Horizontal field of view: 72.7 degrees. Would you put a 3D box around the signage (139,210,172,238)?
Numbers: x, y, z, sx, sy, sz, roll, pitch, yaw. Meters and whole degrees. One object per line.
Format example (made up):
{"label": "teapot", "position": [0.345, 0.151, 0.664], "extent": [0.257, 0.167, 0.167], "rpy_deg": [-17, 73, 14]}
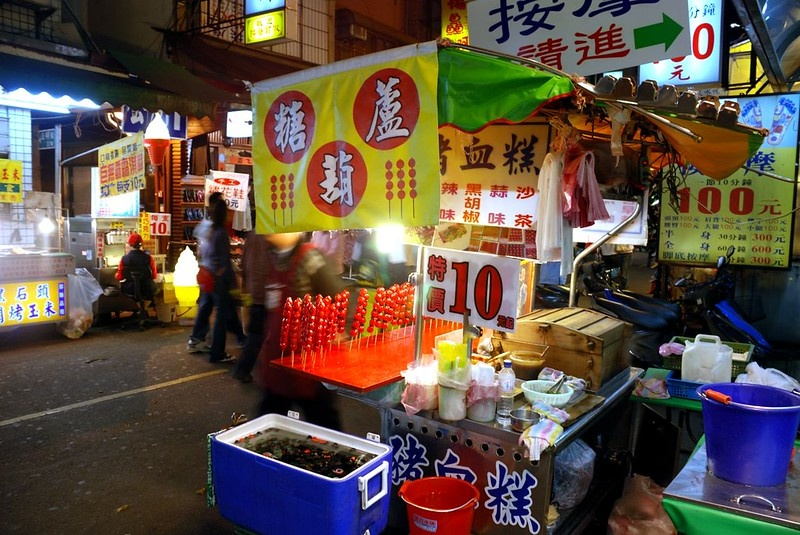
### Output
{"label": "signage", "position": [-6.236, -1.080, 13.860], "extent": [0.962, 0.722, 0.049], "rpy_deg": [-1, -2, -38]}

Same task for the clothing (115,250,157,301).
{"label": "clothing", "position": [-5.777, 0.174, 11.993], "extent": [0.845, 1.090, 1.023], "rpy_deg": [-1, 25, -15]}

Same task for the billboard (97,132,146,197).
{"label": "billboard", "position": [-5.800, -2.075, 11.358], "extent": [0.555, 1.328, 2.076], "rpy_deg": [-11, 17, -38]}

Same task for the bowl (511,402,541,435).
{"label": "bowl", "position": [1.201, 1.469, 5.213], "extent": [0.288, 0.160, 0.215], "rpy_deg": [2, 14, 12]}

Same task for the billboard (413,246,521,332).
{"label": "billboard", "position": [0.719, 0.225, 5.739], "extent": [1.000, 0.727, 0.016], "rpy_deg": [4, 4, 32]}

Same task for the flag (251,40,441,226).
{"label": "flag", "position": [-0.578, -1.174, 5.367], "extent": [2.220, 1.805, 0.333], "rpy_deg": [7, 15, 32]}

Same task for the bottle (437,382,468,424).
{"label": "bottle", "position": [0.505, 1.329, 5.475], "extent": [0.333, 0.364, 0.329], "rpy_deg": [-3, 6, -38]}

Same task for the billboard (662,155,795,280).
{"label": "billboard", "position": [5.120, -0.819, 8.453], "extent": [1.902, 1.975, 0.142], "rpy_deg": [4, 8, 23]}

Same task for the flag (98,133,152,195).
{"label": "flag", "position": [-5.962, -2.234, 11.780], "extent": [2.279, 1.401, 0.036], "rpy_deg": [8, 8, 43]}

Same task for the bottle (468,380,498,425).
{"label": "bottle", "position": [0.818, 1.334, 5.340], "extent": [0.346, 0.368, 0.357], "rpy_deg": [2, -5, -12]}

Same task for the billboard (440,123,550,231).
{"label": "billboard", "position": [1.145, -1.058, 6.313], "extent": [1.179, 1.027, 0.098], "rpy_deg": [5, 10, 25]}

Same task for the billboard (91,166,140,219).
{"label": "billboard", "position": [-6.384, -1.679, 12.293], "extent": [1.304, 1.353, 0.056], "rpy_deg": [4, 9, 24]}
